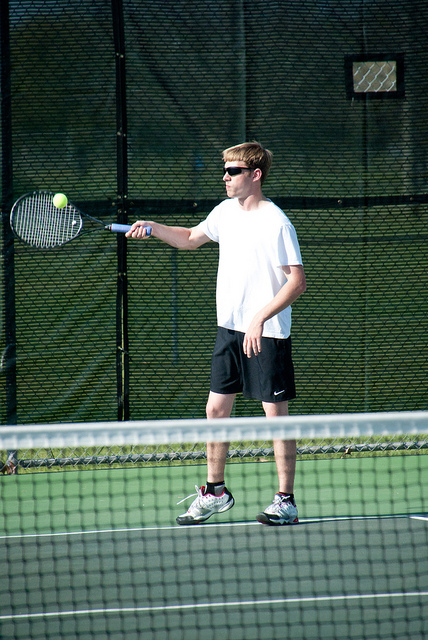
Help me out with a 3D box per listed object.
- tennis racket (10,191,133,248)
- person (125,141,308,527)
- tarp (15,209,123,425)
[{"bbox_3d":[-0.670,-0.479,3.768,0.555,0.263,0.483,1,10,9],"label":"tennis racket"},{"bbox_3d":[0.064,0.057,3.512,0.758,1.649,0.530,5,11,26],"label":"person"},{"bbox_3d":[-0.738,0.013,4.068,0.492,1.175,0.435,-6,12,-39],"label":"tarp"}]
